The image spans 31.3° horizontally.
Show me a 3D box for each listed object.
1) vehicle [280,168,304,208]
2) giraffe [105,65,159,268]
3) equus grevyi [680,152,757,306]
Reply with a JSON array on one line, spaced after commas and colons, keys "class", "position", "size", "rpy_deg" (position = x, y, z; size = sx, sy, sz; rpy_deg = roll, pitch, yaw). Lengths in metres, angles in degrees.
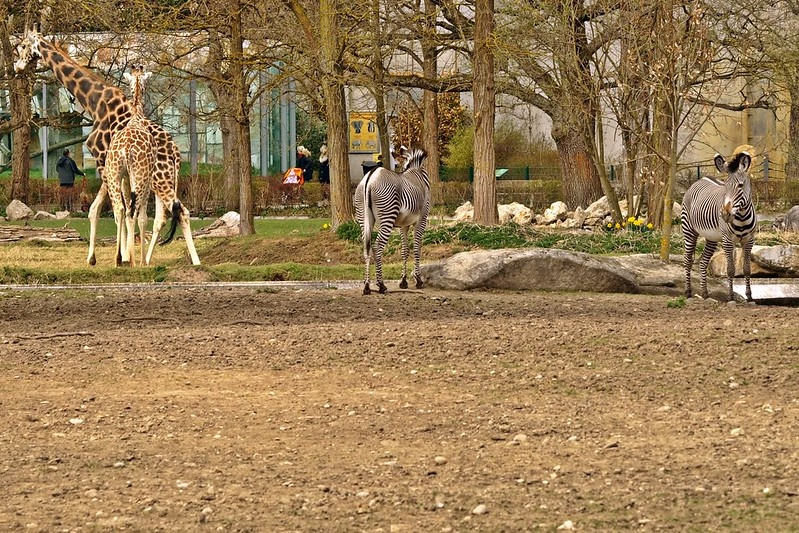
[{"class": "vehicle", "position": [-3.754, -2.925, 50.924], "size": [0.968, 1.443, 0.558], "rpy_deg": [2, -10, -4]}, {"class": "giraffe", "position": [-5.977, -2.310, 31.914], "size": [1.114, 3.711, 1.277], "rpy_deg": [-1, 1, -11]}, {"class": "equus grevyi", "position": [6.008, -0.817, 26.687], "size": [1.053, 2.878, 1.902], "rpy_deg": [-1, 1, -5]}]
